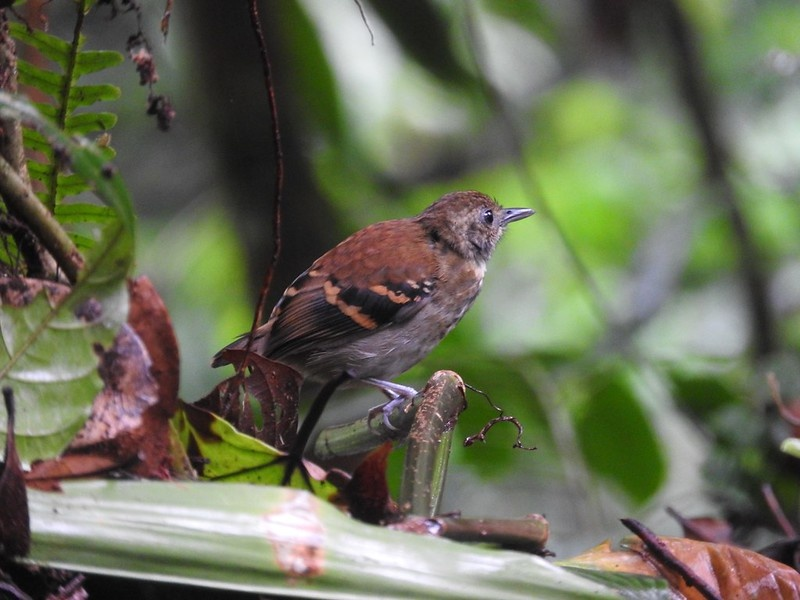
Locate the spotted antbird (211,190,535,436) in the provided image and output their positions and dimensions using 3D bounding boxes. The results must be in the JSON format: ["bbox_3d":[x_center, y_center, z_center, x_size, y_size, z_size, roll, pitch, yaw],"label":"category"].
[{"bbox_3d":[-0.036,0.002,1.305,0.442,0.275,0.188,0,7,9],"label":"spotted antbird"}]
